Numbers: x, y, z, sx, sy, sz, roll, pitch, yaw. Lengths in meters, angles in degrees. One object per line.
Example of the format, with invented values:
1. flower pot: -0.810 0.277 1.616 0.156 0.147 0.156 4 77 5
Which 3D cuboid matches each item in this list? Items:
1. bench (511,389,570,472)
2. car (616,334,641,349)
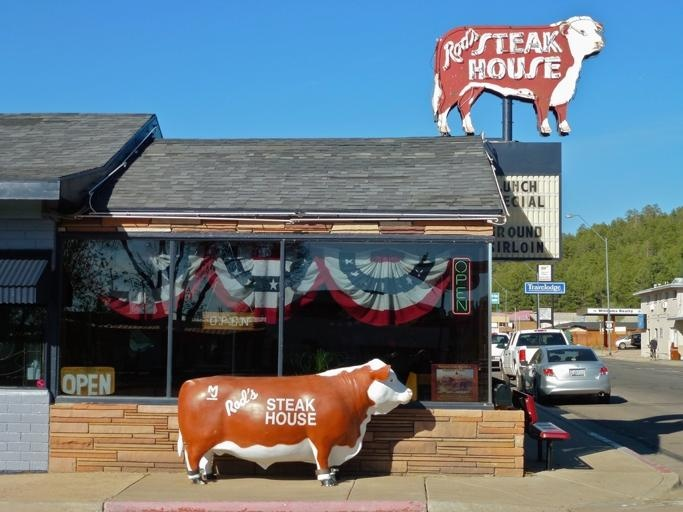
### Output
1. bench: 3.523 3.004 19.427 0.918 1.329 1.949 1 3 9
2. car: 19.292 5.680 73.096 1.746 0.831 1.016 2 -4 3
